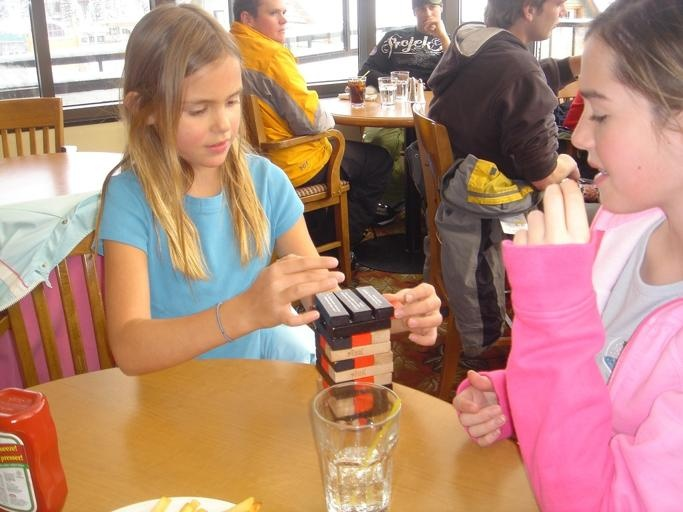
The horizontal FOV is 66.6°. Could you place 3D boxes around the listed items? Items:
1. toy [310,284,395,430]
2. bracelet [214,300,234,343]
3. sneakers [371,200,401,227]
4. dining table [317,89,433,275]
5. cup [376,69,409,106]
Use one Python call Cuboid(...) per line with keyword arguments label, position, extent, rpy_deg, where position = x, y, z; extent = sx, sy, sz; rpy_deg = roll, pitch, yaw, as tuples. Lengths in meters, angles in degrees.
Cuboid(label="toy", position=(0.017, 0.171, 0.876), extent=(0.112, 0.217, 0.153), rpy_deg=(-8, 25, -14))
Cuboid(label="bracelet", position=(-0.260, 0.148, 1.138), extent=(0.029, 0.085, 0.065), rpy_deg=(-10, 16, -15))
Cuboid(label="sneakers", position=(0.367, -0.351, 4.273), extent=(0.174, 0.082, 0.257), rpy_deg=(5, 57, 18))
Cuboid(label="dining table", position=(0.081, -0.527, 3.618), extent=(0.986, 0.765, 1.039), rpy_deg=(-4, 30, -6))
Cuboid(label="cup", position=(0.372, -1.191, 3.663), extent=(0.318, 0.233, 0.208), rpy_deg=(-6, 14, -21))
